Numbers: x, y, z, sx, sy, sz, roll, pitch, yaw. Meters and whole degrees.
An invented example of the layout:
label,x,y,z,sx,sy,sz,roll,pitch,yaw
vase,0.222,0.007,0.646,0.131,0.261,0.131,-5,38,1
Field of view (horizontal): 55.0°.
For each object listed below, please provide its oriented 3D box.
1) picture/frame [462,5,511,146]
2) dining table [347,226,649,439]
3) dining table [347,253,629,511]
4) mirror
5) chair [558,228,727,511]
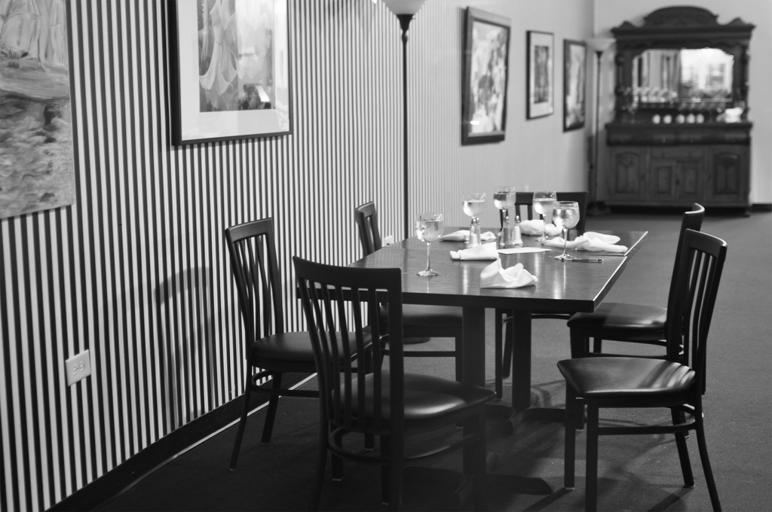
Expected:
label,x,y,z,sx,sy,sz,roll,pitch,yaw
picture/frame,1.053,-1.963,8.005,0.104,1.491,1.520,9,16,32
dining table,0.574,-0.015,3.814,1.036,0.888,1.839,1,6,19
dining table,0.585,0.421,3.820,0.920,0.752,1.455,1,7,19
mirror,4.768,-2.847,11.751,1.134,0.664,0.021,2,8,14
chair,1.309,0.548,3.691,0.787,1.305,1.234,6,12,35
